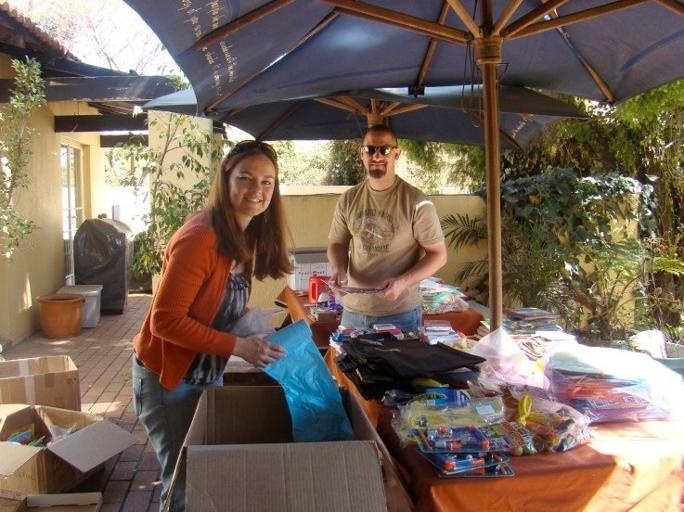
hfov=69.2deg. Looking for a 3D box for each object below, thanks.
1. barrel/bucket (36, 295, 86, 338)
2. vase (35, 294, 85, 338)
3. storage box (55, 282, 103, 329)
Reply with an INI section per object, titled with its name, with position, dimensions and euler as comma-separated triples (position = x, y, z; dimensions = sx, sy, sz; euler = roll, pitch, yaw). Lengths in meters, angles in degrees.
[barrel/bucket]
position = -3.772, 0.815, 6.616
dimensions = 0.533, 0.445, 0.557
euler = 1, 2, 0
[vase]
position = -3.799, 0.814, 6.696
dimensions = 0.535, 0.449, 0.559
euler = 1, 1, -5
[storage box]
position = -3.752, 0.674, 7.115
dimensions = 0.568, 0.465, 0.603
euler = 2, 4, -3
